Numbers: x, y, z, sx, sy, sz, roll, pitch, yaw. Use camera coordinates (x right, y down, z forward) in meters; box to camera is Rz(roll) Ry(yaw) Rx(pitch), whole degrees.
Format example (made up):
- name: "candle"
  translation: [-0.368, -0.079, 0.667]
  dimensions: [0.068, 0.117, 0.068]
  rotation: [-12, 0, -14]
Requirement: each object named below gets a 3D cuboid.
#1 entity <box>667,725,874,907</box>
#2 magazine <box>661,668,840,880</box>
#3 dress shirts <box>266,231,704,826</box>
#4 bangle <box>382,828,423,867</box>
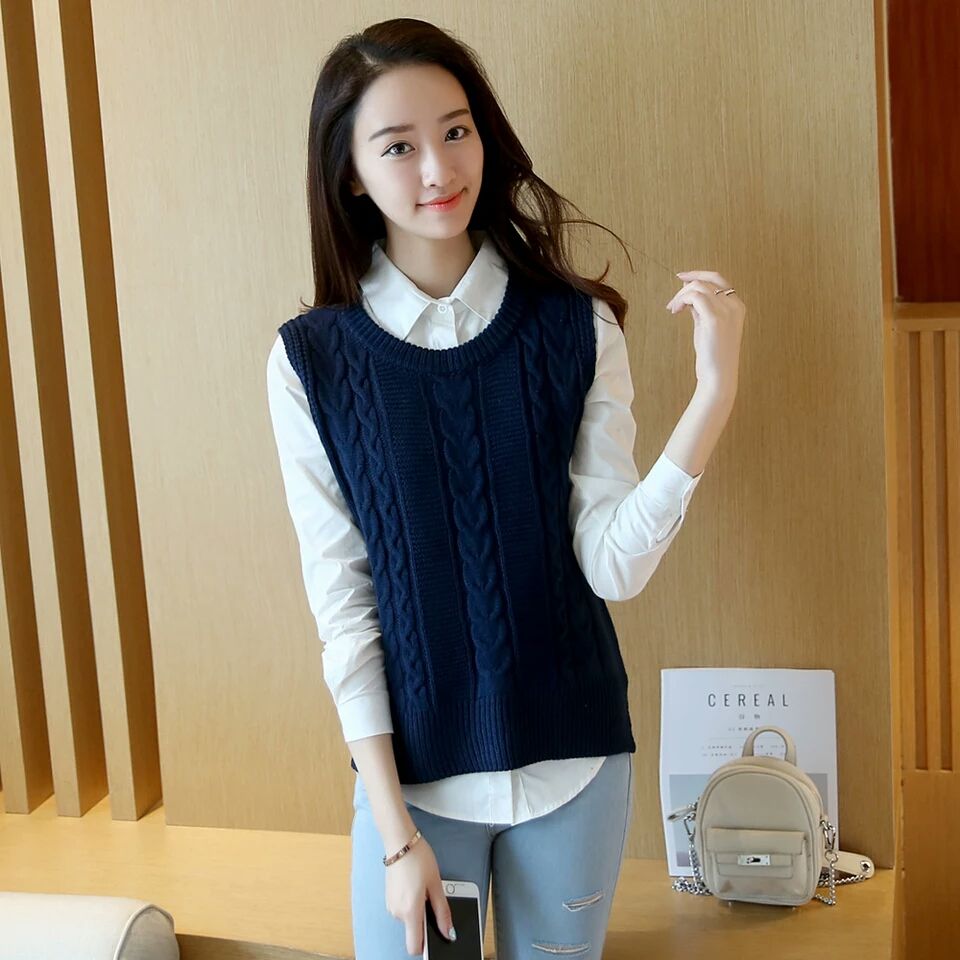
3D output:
- name: "entity"
  translation: [0.523, 0.621, 1.991]
  dimensions: [0.382, 0.433, 0.261]
  rotation: [-2, 0, 20]
- name: "magazine"
  translation: [0.514, 0.543, 2.073]
  dimensions: [0.284, 0.463, 0.032]
  rotation: [-1, -4, 8]
- name: "dress shirts"
  translation: [-0.027, 0.126, 1.743]
  dimensions: [0.503, 0.995, 0.346]
  rotation: [-8, -21, -2]
- name: "bangle"
  translation: [-0.105, 0.503, 1.519]
  dimensions: [0.042, 0.011, 0.045]
  rotation: [-48, 4, -5]
